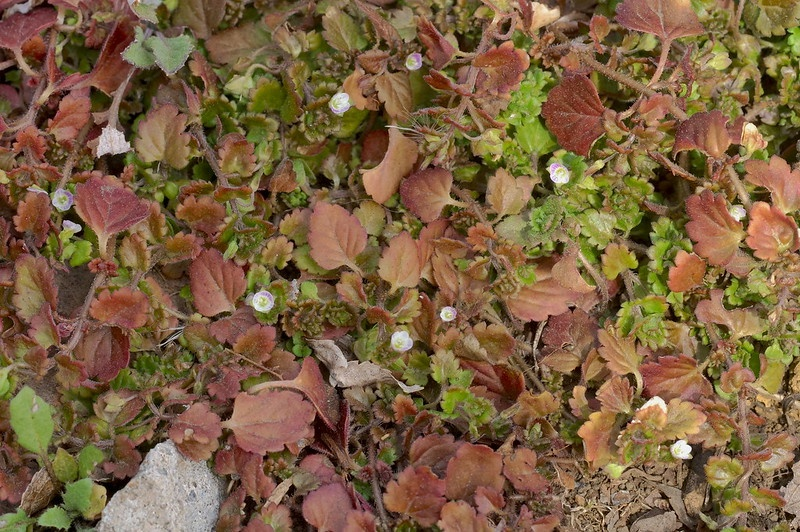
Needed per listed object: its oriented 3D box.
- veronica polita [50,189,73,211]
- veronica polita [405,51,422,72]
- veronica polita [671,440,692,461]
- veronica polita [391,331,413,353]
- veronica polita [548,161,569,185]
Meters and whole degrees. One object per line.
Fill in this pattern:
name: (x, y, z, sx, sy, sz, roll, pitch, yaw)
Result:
veronica polita: (-1.242, -0.244, 2.849, 0.073, 0.044, 0.079, -11, 96, -13)
veronica polita: (0.051, -0.796, 3.026, 0.058, 0.055, 0.068, -1, 103, -6)
veronica polita: (1.033, 0.672, 2.863, 0.082, 0.086, 0.053, 3, 62, -7)
veronica polita: (0.000, 0.274, 2.819, 0.076, 0.044, 0.071, 30, 88, -4)
veronica polita: (0.602, -0.352, 2.944, 0.084, 0.044, 0.077, 0, 64, -9)
